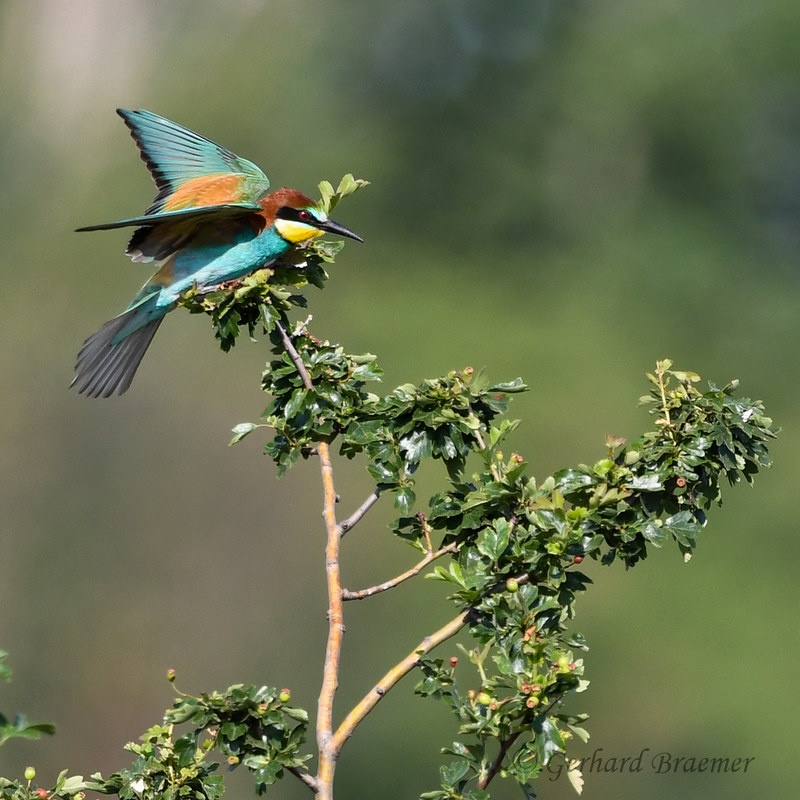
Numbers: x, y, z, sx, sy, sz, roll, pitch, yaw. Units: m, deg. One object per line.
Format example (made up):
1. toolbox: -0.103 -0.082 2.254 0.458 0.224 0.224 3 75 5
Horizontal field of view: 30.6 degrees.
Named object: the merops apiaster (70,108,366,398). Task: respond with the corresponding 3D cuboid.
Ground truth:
1. merops apiaster: -0.713 -0.535 4.947 1.192 1.124 0.536 1 -93 26
